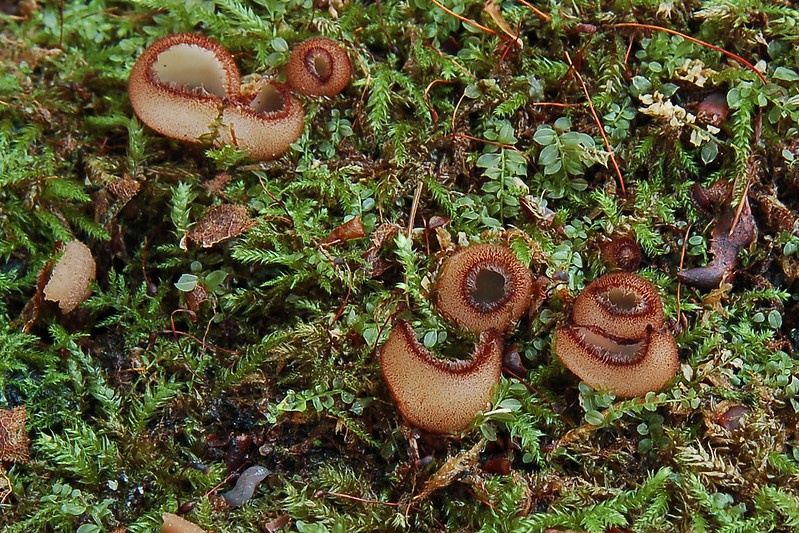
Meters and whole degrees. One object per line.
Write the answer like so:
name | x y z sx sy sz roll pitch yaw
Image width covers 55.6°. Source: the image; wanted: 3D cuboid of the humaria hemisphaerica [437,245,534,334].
humaria hemisphaerica | 0.491 0.123 4.407 0.535 0.132 0.529 31 84 4

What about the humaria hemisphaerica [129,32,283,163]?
humaria hemisphaerica | -1.167 -1.013 4.762 0.954 0.241 0.673 19 82 -15

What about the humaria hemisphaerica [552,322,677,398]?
humaria hemisphaerica | 1.248 0.551 4.359 0.696 0.080 0.400 2 83 1

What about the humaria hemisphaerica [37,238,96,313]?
humaria hemisphaerica | -2.055 0.054 4.677 0.328 0.129 0.413 37 73 -32

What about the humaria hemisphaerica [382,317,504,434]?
humaria hemisphaerica | 0.225 0.627 4.324 0.664 0.124 0.565 7 83 2

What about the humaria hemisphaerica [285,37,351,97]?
humaria hemisphaerica | -0.517 -1.249 4.766 0.401 0.160 0.334 -2 83 1
